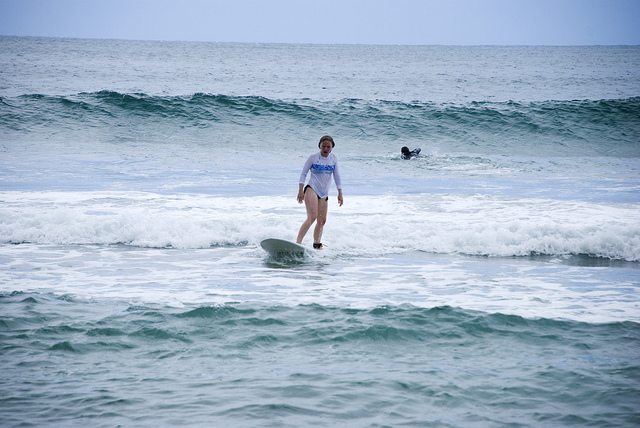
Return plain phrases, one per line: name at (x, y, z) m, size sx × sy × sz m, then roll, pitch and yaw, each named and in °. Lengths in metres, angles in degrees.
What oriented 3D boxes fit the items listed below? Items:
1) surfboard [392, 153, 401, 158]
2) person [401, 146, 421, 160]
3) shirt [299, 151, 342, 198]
surfboard at (2.721, -2.098, 31.224) m, size 0.332 × 0.067 × 0.324 m, roll -2°, pitch 12°, yaw 7°
person at (3.180, -2.153, 30.749) m, size 0.389 × 0.299 × 1.012 m, roll 6°, pitch 14°, yaw 31°
shirt at (0.046, -0.844, 18.686) m, size 0.951 × 1.003 × 0.521 m, roll -5°, pitch 21°, yaw -45°
